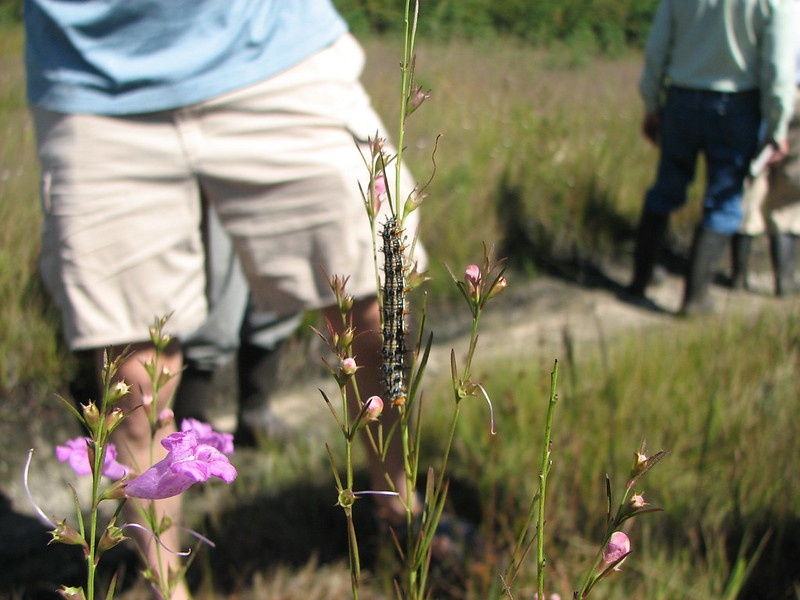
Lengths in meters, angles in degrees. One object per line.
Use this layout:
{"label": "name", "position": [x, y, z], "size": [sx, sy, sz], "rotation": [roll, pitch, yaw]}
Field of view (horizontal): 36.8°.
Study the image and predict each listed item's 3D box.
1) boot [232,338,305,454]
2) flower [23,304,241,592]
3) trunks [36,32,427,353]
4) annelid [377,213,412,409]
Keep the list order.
{"label": "boot", "position": [-0.429, 0.341, 4.083], "size": [0.260, 0.561, 0.211], "rotation": [0, -2, -6]}
{"label": "flower", "position": [-0.714, 0.426, 3.203], "size": [0.301, 0.740, 0.433], "rotation": [-8, 26, -32]}
{"label": "trunks", "position": [-0.432, -0.260, 2.907], "size": [0.562, 0.697, 0.250], "rotation": [-14, 27, 0]}
{"label": "annelid", "position": [-0.013, 0.016, 2.580], "size": [0.068, 0.404, 0.237], "rotation": [-4, 19, 0]}
